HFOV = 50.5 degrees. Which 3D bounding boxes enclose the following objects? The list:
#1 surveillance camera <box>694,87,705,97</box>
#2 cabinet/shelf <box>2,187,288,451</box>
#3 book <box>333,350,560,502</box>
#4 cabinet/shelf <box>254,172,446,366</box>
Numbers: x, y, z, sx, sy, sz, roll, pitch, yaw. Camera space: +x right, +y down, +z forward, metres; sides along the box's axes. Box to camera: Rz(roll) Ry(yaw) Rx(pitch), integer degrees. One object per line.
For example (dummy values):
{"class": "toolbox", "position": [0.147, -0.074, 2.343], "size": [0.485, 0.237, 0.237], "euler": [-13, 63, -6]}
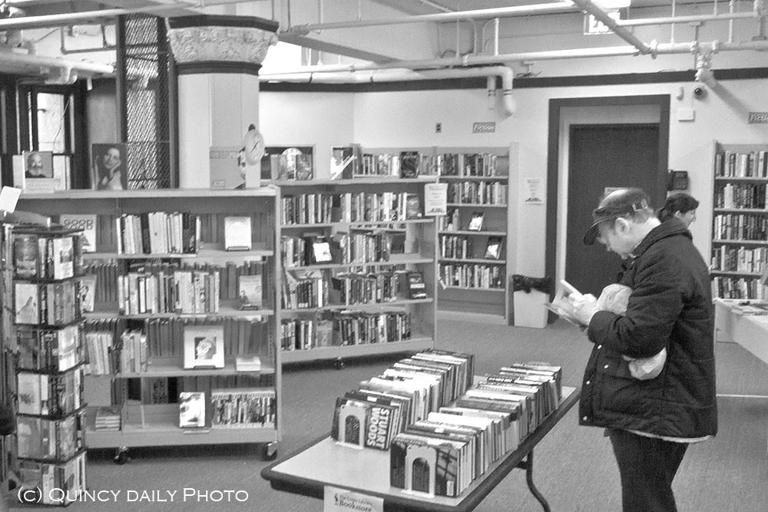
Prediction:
{"class": "surveillance camera", "position": [4.902, -2.537, 12.653], "size": [0.165, 0.150, 0.060], "euler": [1, 5, 17]}
{"class": "cabinet/shelf", "position": [-2.412, 0.646, 8.079], "size": [3.064, 2.647, 1.011], "euler": [-1, 1, -18]}
{"class": "book", "position": [0.516, 1.176, 6.139], "size": [0.918, 0.290, 1.343], "euler": [5, 8, 29]}
{"class": "cabinet/shelf", "position": [-0.483, 0.163, 10.446], "size": [2.838, 2.280, 0.819], "euler": [-3, 4, -33]}
